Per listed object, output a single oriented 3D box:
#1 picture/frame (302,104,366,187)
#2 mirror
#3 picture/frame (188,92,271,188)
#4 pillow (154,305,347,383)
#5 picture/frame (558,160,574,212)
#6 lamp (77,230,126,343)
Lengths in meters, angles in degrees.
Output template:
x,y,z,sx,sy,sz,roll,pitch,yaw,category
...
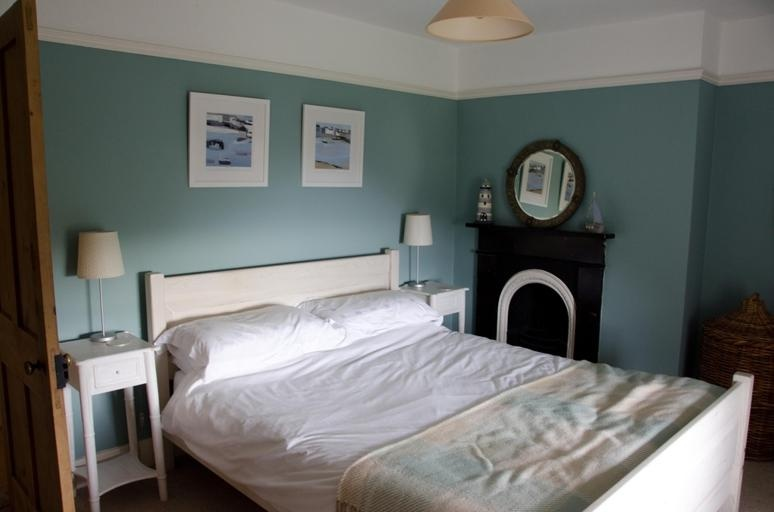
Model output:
x,y,z,sx,sy,sz,roll,pitch,yaw,category
-0.501,-0.986,4.870,0.729,0.772,0.064,-8,21,-39,picture/frame
1.528,-0.690,5.239,0.740,0.795,0.080,17,16,38,mirror
-1.264,-0.918,4.308,0.742,0.847,0.034,-8,18,-37,picture/frame
-0.965,0.608,4.022,0.810,0.218,0.589,-8,23,-35,pillow
1.665,-0.651,5.134,0.139,0.459,0.062,1,7,28,picture/frame
-1.990,0.207,3.847,0.276,0.761,0.283,-6,7,-29,lamp
